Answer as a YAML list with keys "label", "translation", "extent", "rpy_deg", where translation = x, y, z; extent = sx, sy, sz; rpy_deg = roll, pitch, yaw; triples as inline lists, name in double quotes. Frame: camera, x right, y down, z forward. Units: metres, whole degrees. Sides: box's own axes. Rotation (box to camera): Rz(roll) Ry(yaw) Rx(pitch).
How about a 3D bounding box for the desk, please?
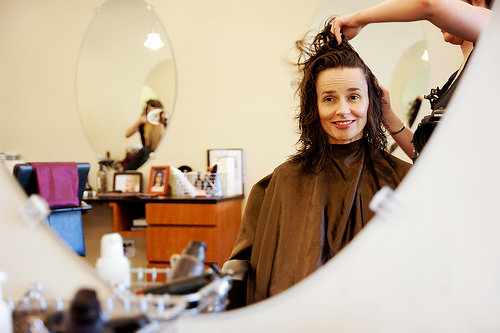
- label: "desk"
  translation: [-0.489, 0.420, 2.415]
  extent: [0.827, 0.542, 0.548]
  rpy_deg: [0, -3, 24]

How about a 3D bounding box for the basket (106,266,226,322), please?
- label: "basket"
  translation: [-0.175, 0.294, 1.040]
  extent: [0.260, 0.112, 0.083]
  rpy_deg: [-4, -8, 21]

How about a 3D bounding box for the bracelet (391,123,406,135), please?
- label: "bracelet"
  translation: [0.518, -0.124, 1.575]
  extent: [0.011, 0.045, 0.043]
  rpy_deg: [39, -39, -2]
